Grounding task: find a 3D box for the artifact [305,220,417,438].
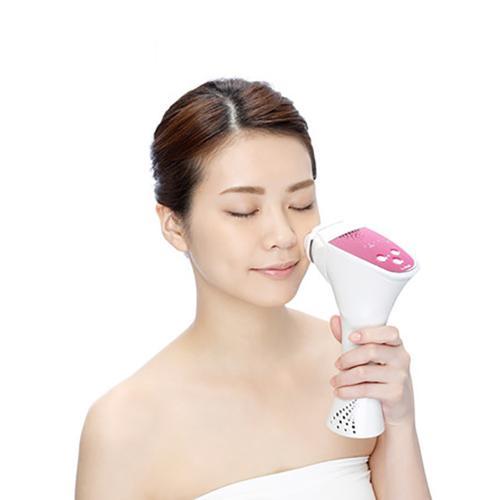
[{"bbox_3d":[0.367,0.235,1.853,0.304,0.682,0.546,-3,-20,-7],"label":"artifact"}]
